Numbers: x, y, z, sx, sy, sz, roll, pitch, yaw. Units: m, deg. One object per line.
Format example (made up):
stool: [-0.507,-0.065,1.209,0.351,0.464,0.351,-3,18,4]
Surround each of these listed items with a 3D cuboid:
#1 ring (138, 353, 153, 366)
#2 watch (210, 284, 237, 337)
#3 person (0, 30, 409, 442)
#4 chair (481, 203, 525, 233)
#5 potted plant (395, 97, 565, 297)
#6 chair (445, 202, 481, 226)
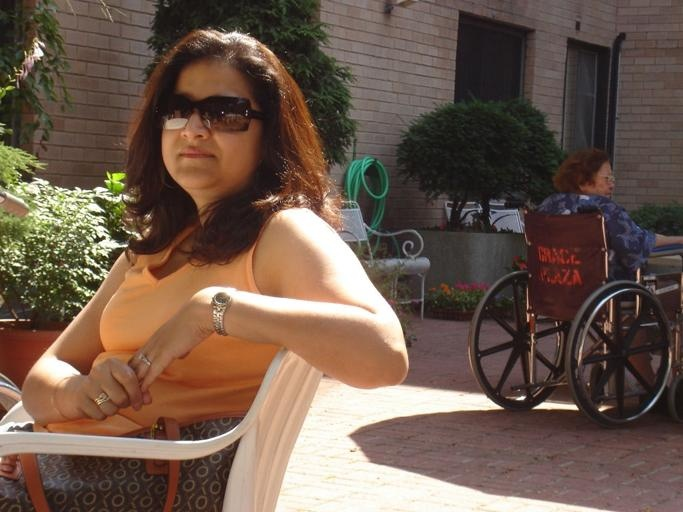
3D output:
ring: [-0.531,0.282,2.131,0.039,0.009,0.012,43,25,10]
watch: [-0.316,0.150,2.075,0.059,0.116,0.036,1,5,5]
person: [-0.361,-0.091,2.502,1.329,1.296,0.759,-11,-17,34]
chair: [2.508,-0.557,12.142,0.453,0.332,0.718,9,10,37]
potted plant: [2.042,-0.905,11.435,2.677,2.879,2.405,4,4,37]
chair: [1.836,-0.659,11.832,0.516,0.284,0.336,-6,12,-18]
